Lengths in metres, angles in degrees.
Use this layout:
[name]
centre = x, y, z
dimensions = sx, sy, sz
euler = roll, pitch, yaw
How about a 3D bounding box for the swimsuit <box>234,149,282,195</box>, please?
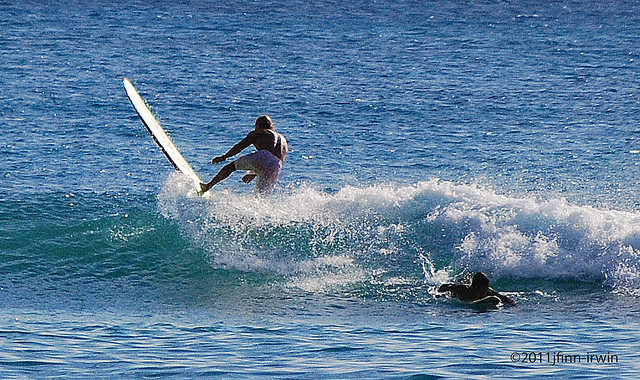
[swimsuit]
centre = -2.294, -0.649, 44.150
dimensions = 1.558, 1.779, 0.726
euler = 4, 39, 7
